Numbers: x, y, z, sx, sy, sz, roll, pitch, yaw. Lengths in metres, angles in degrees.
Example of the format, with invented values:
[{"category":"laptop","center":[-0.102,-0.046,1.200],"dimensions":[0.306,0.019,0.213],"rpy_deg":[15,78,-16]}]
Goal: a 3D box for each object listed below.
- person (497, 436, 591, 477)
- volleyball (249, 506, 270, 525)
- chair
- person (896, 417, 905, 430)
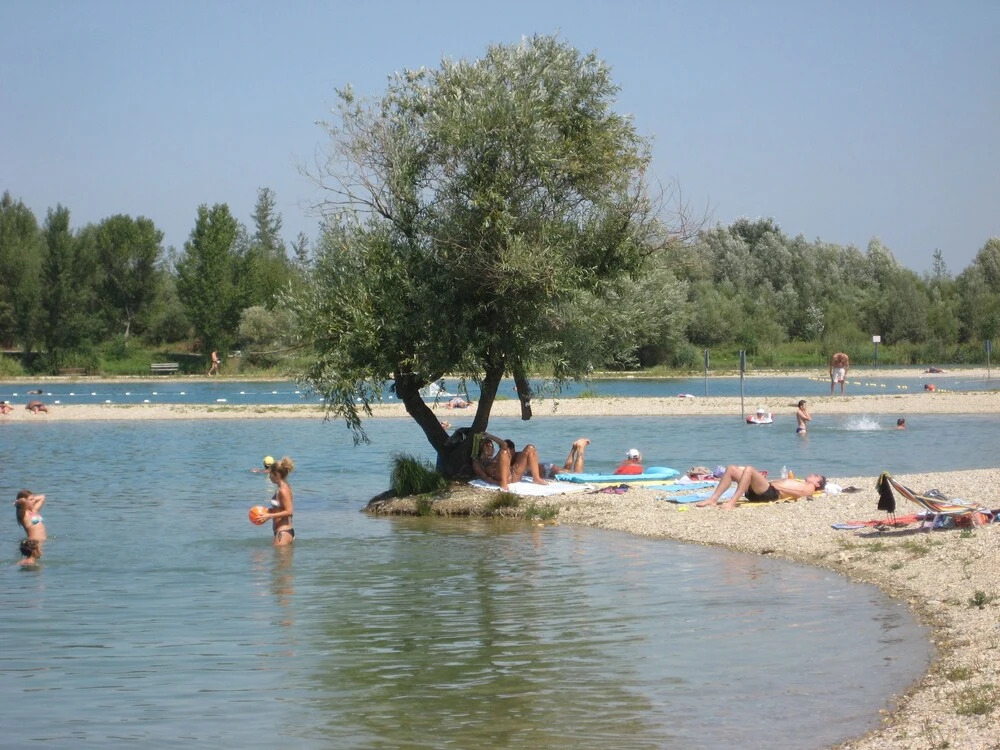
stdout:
[{"category":"person","center":[1.110,2.351,38.671],"dimensions":[1.713,0.711,1.235],"rpy_deg":[-5,6,-29]},{"category":"volleyball","center":[-5.513,3.192,32.810],"dimensions":[0.406,0.434,0.407],"rpy_deg":[-15,18,-26]},{"category":"chair","center":[9.651,2.868,31.228],"dimensions":[1.977,0.860,1.234],"rpy_deg":[5,11,36]},{"category":"person","center":[16.323,1.989,58.888],"dimensions":[0.303,0.499,0.923],"rpy_deg":[-1,-3,5]}]
